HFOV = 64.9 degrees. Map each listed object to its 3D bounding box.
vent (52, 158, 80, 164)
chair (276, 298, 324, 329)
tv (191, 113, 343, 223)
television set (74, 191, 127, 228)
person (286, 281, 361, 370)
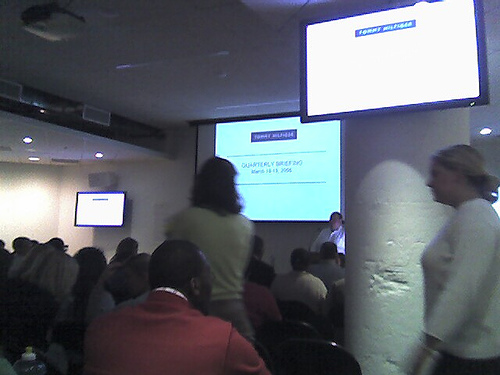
[{"bbox_3d":[-1.030,-0.150,2.219,0.020,0.030,0.151,-20,-12,27],"label":"vent"},{"bbox_3d":[0.267,0.670,2.195,0.232,0.236,0.182,-1,-12,-11],"label":"chair"},{"bbox_3d":[0.153,-0.199,2.897,0.919,0.661,0.068,-1,-8,2],"label":"tv"},{"bbox_3d":[-0.840,0.128,2.227,0.264,0.218,0.241,1,0,-16],"label":"television set"},{"bbox_3d":[0.392,0.647,1.902,0.289,0.393,0.861,1,0,16],"label":"person"}]
